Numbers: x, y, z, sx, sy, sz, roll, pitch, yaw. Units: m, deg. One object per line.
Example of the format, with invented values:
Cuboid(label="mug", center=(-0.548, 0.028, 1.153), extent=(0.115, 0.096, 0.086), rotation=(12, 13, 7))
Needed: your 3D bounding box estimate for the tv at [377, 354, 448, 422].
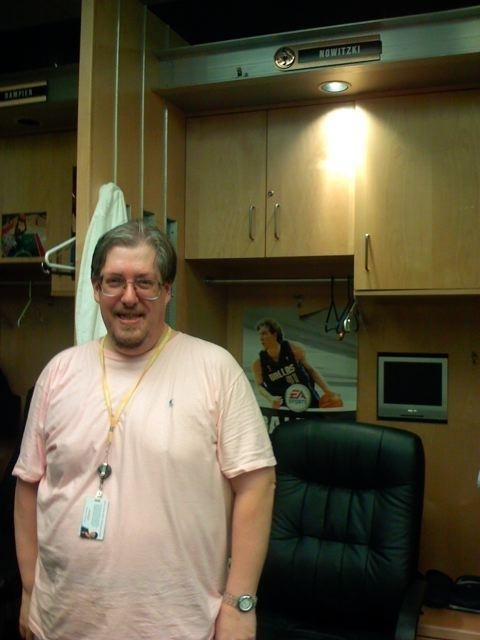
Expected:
Cuboid(label="tv", center=(0.709, 0.276, 2.270), extent=(0.205, 0.257, 0.033), rotation=(0, -4, 22))

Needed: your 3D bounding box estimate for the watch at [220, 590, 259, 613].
Cuboid(label="watch", center=(0.003, 0.542, 1.079), extent=(0.052, 0.044, 0.055), rotation=(0, -9, -9))
